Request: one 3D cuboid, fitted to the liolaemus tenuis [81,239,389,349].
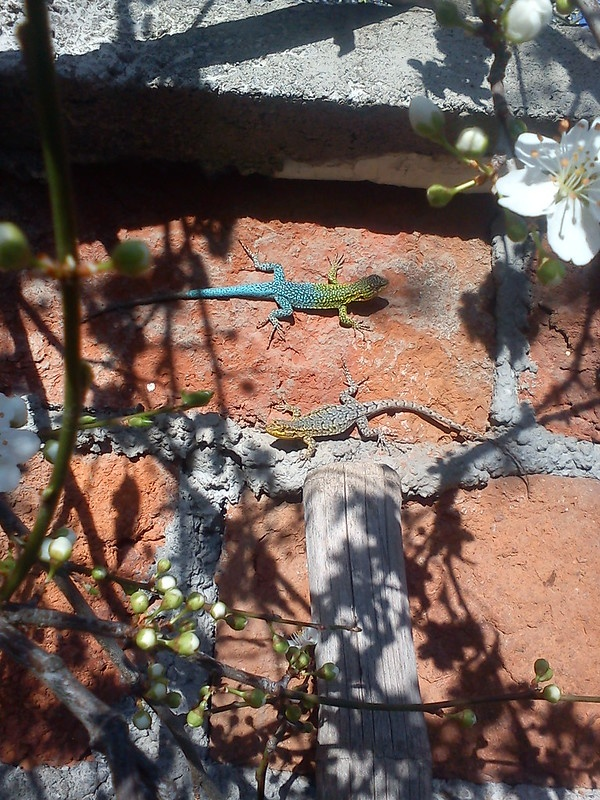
[{"bbox_3d":[-0.269,-0.501,3.582,1.299,0.139,0.473,0,65,-3],"label":"liolaemus tenuis"}]
